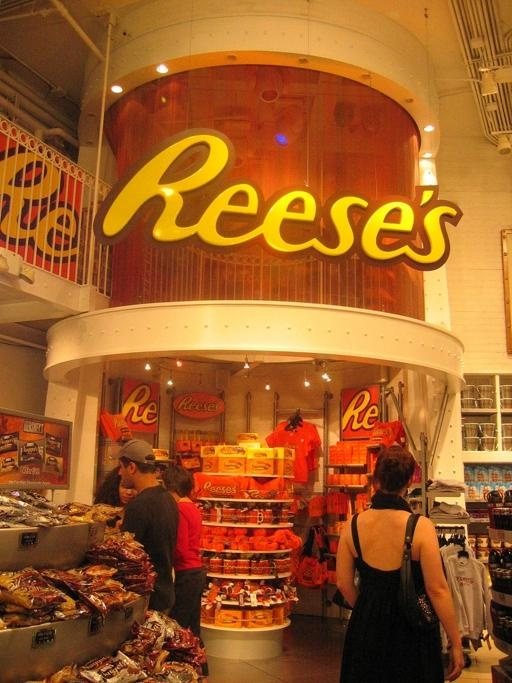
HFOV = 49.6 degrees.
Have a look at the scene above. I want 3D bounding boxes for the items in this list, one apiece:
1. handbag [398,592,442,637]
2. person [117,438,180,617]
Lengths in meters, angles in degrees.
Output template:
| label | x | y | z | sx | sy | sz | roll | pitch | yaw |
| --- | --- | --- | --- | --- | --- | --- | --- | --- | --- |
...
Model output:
| label | x | y | z | sx | sy | sz | roll | pitch | yaw |
| --- | --- | --- | --- | --- | --- | --- | --- | --- | --- |
| handbag | 0.599 | 1.000 | 2.033 | 0.076 | 0.155 | 0.118 | -22 | 16 | 35 |
| person | -0.605 | 0.982 | 2.886 | 0.304 | 0.911 | 0.543 | 2 | -11 | 6 |
